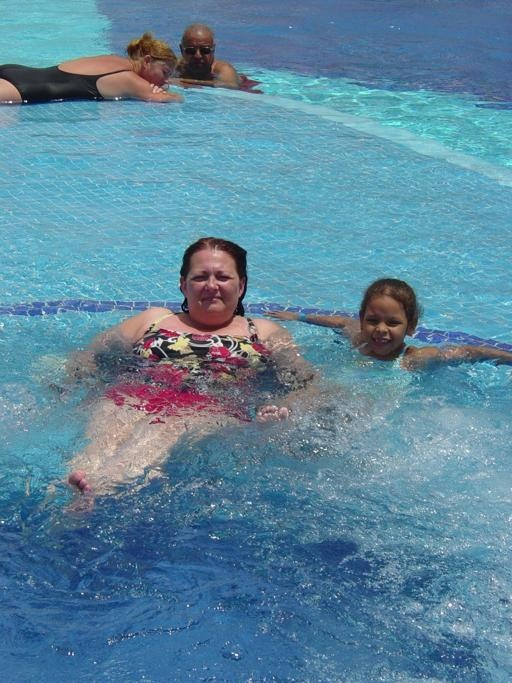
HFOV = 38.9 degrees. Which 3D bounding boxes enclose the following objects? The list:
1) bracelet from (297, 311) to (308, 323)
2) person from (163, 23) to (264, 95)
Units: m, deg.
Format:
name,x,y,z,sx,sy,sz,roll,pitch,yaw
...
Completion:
name,x,y,z,sx,sy,sz,roll,pitch,yaw
bracelet,0.248,-0.130,3.853,0.057,0.047,0.051,23,8,4
person,-0.599,-3.367,8.813,1.324,0.511,1.000,6,21,6
